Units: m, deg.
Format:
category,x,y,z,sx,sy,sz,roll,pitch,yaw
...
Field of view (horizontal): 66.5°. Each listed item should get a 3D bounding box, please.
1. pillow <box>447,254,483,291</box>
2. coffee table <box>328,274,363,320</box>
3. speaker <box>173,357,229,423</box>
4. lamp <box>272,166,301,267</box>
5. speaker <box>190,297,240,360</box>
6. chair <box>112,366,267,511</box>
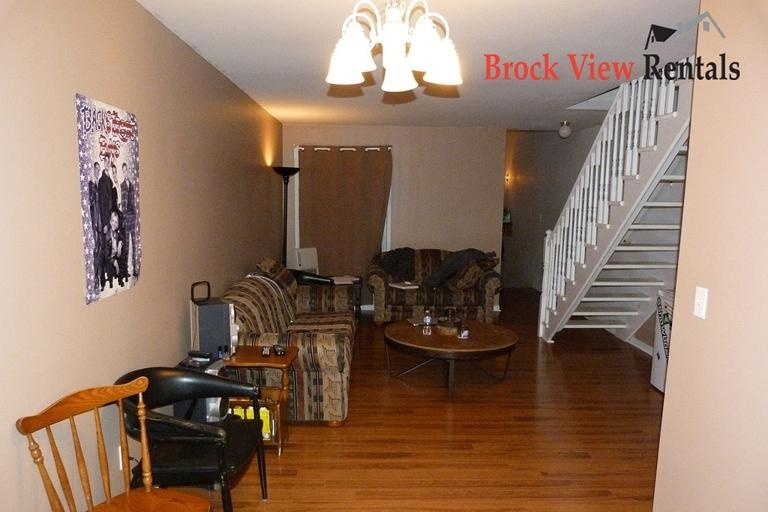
category,x,y,z,sx,sy,sz,roll,pitch,yaw
pillow,1.059,0.213,7.629,0.476,0.386,0.361,-3,10,-3
coffee table,-0.396,0.497,7.274,0.603,0.622,0.463,0,-1,-5
speaker,-1.264,0.948,4.198,0.390,0.421,0.500,12,-9,-36
lamp,-1.287,-0.507,7.848,0.309,1.388,0.987,-4,10,-9
speaker,-1.314,0.568,4.736,0.382,0.497,0.512,0,4,-6
chair,-1.194,1.126,3.935,0.934,1.034,1.045,0,0,4
